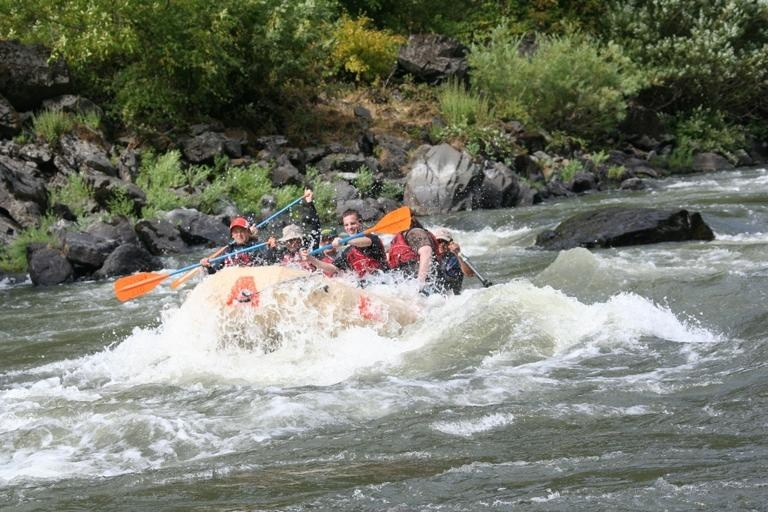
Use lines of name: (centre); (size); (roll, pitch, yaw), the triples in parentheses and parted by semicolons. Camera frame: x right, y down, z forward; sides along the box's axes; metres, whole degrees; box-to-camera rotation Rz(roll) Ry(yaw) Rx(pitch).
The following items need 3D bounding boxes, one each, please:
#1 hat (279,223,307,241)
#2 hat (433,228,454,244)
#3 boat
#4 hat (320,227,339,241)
hat: (-1.811, -0.537, 19.534); (0.419, 0.183, 0.422); (-17, -11, 7)
hat: (1.156, -0.414, 19.417); (0.286, 0.213, 0.418); (7, -18, 15)
boat: (-1.523, 0.902, 18.591); (3.269, 1.041, 1.780); (2, -2, 0)
hat: (-1.044, -0.448, 19.640); (0.315, 0.302, 0.402); (3, -2, -4)
